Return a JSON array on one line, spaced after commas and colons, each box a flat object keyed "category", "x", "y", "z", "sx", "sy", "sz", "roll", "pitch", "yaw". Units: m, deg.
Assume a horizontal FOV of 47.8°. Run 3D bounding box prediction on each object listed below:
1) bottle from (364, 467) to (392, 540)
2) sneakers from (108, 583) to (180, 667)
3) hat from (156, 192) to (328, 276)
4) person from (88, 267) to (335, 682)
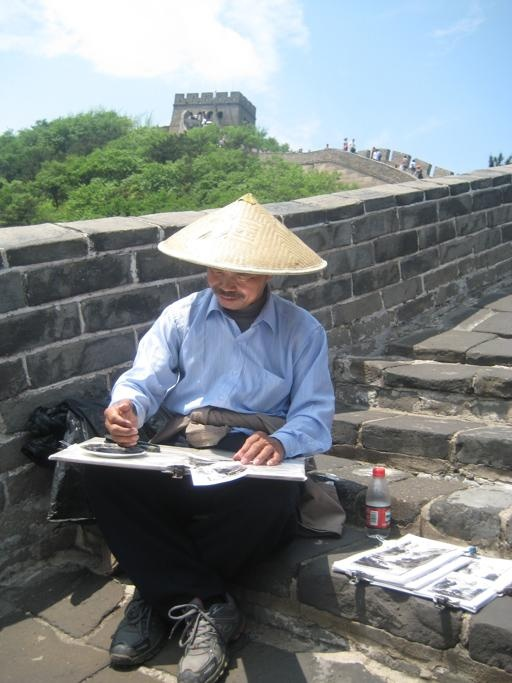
[{"category": "bottle", "x": 0.466, "y": 0.624, "z": 2.236, "sx": 0.105, "sy": 0.260, "sz": 0.220, "roll": 0, "pitch": 7, "yaw": 12}, {"category": "sneakers", "x": -0.364, "y": 0.882, "z": 1.782, "sx": 0.125, "sy": 0.180, "sz": 0.202, "roll": 3, "pitch": 8, "yaw": 31}, {"category": "hat", "x": -0.040, "y": -0.377, "z": 2.014, "sx": 0.660, "sy": 0.214, "sz": 0.654, "roll": 0, "pitch": 11, "yaw": -44}, {"category": "person", "x": -0.169, "y": 0.349, "z": 1.971, "sx": 0.641, "sy": 1.193, "sz": 0.882, "roll": 4, "pitch": 9, "yaw": 36}]
